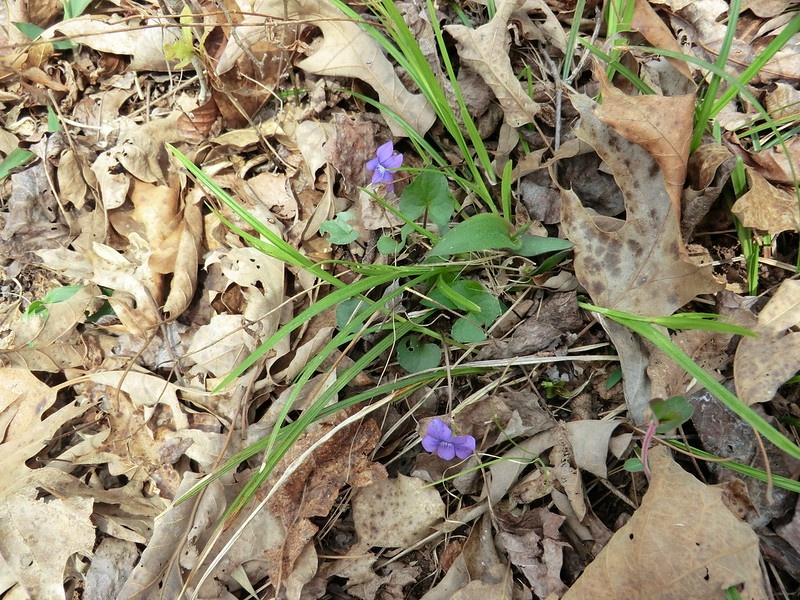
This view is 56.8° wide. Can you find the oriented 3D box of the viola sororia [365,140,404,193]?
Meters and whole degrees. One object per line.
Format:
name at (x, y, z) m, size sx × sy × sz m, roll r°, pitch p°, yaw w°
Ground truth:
viola sororia at (-0.050, -0.486, 2.757) m, size 0.150 × 0.048 × 0.171 m, roll 21°, pitch 93°, yaw 14°
